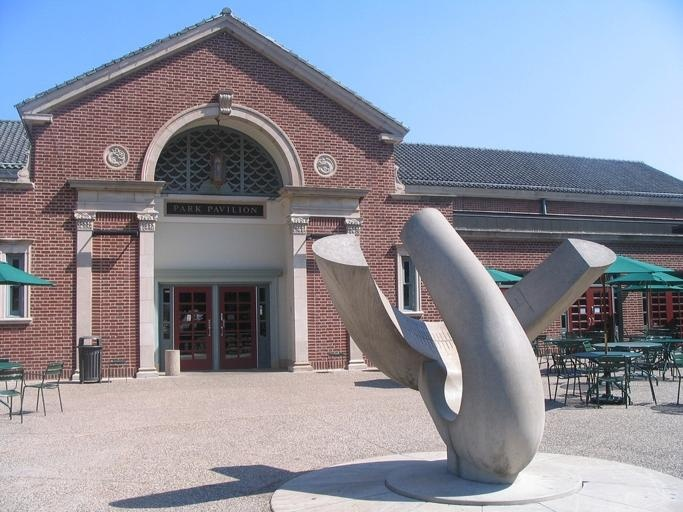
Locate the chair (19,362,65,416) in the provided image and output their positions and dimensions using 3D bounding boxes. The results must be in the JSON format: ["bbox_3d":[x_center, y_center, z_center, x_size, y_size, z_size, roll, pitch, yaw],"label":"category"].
[{"bbox_3d":[-5.674,2.500,15.079,0.590,0.901,0.618,-9,-13,5],"label":"chair"}]

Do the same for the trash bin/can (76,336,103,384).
[{"bbox_3d":[-6.216,2.525,19.283,0.538,1.103,0.528,-2,2,-18],"label":"trash bin/can"}]
